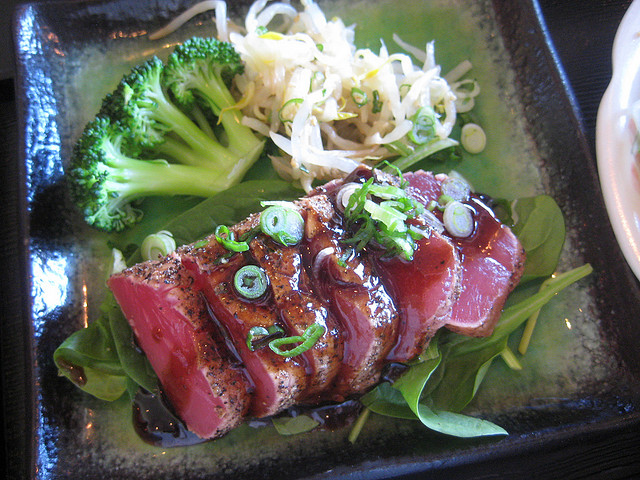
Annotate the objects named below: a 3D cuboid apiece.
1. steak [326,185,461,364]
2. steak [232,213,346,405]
[{"bbox_3d":[0.402,0.159,4.424,0.813,0.984,1.031,3,22,-4],"label":"steak"},{"bbox_3d":[-0.204,0.409,3.952,0.870,0.703,0.707,15,29,28],"label":"steak"}]
